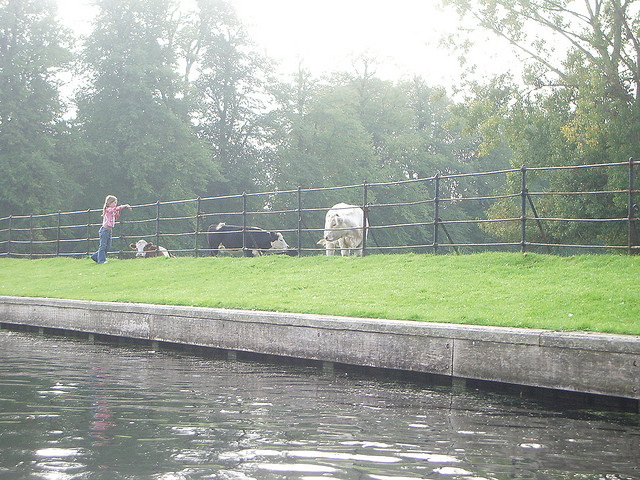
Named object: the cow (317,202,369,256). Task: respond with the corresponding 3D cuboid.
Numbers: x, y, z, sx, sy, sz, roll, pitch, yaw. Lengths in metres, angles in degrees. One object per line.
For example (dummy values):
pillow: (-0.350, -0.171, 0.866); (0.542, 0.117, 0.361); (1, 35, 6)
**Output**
cow: (0.795, -0.413, 43.810); (1.462, 1.911, 2.511); (-2, -3, 3)
